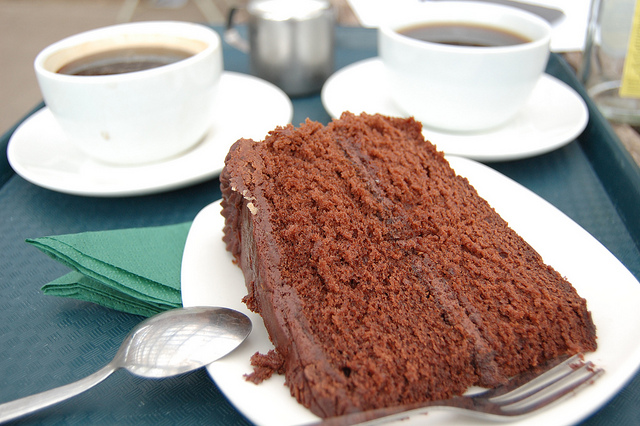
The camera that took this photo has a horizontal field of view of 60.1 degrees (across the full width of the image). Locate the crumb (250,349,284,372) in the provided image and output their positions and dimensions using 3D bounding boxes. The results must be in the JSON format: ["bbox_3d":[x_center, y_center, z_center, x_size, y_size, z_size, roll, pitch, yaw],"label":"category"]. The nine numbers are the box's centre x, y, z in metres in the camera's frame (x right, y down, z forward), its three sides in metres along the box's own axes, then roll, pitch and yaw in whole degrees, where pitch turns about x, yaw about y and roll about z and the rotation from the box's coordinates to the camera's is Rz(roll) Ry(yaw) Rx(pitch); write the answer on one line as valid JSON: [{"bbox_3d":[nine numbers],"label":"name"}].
[{"bbox_3d":[-0.101,0.270,1.019,0.038,0.010,0.039,-8,26,-17],"label":"crumb"}]

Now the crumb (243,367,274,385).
[{"bbox_3d":[-0.112,0.294,0.998,0.038,0.007,0.025,-13,40,-19],"label":"crumb"}]

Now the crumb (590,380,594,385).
[{"bbox_3d":[0.478,0.297,0.967,0.005,0.001,0.005,-1,27,29],"label":"crumb"}]

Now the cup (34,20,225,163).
[{"bbox_3d":[-0.485,-0.309,1.412,0.399,0.231,0.408,0,34,0],"label":"cup"}]

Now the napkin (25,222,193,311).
[{"bbox_3d":[-0.452,0.112,1.181,0.323,0.101,0.226,-6,61,-1],"label":"napkin"}]

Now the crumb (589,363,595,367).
[{"bbox_3d":[0.493,0.275,0.997,0.010,0.004,0.007,-10,61,-3],"label":"crumb"}]

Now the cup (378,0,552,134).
[{"bbox_3d":[0.373,-0.403,1.505,0.413,0.241,0.426,-1,30,1],"label":"cup"}]

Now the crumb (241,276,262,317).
[{"bbox_3d":[-0.138,0.172,1.096,0.031,0.026,0.078,-14,62,-5],"label":"crumb"}]
